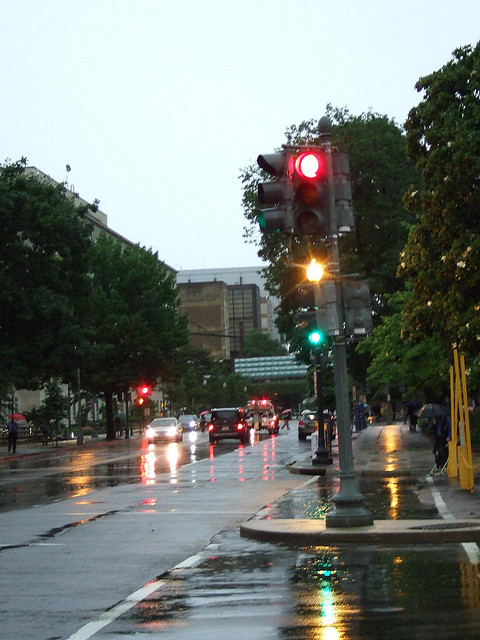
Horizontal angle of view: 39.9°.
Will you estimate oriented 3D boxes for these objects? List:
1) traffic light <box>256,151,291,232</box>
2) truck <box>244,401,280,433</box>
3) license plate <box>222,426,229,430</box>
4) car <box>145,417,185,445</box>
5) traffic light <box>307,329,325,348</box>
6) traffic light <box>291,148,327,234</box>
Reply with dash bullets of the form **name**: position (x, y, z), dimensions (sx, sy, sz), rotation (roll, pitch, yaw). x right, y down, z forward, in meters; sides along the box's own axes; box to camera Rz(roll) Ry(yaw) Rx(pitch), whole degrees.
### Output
- **traffic light**: position (0.463, -1.718, 8.864), dimensions (0.494, 1.138, 0.464), rotation (-4, -7, 1)
- **truck**: position (2.015, 8.264, 59.870), dimensions (3.367, 2.391, 5.059), rotation (-1, -10, 2)
- **license plate**: position (-0.950, 6.865, 41.929), dimensions (0.251, 0.227, 0.130), rotation (1, -31, 1)
- **car**: position (-5.345, 7.812, 46.596), dimensions (2.406, 1.726, 3.204), rotation (-3, -8, -10)
- **traffic light**: position (1.673, 0.420, 14.536), dimensions (0.464, 0.442, 0.119), rotation (2, 1, 22)
- **traffic light**: position (0.940, -1.775, 9.143), dimensions (0.525, 1.185, 0.516), rotation (-3, -7, -5)
